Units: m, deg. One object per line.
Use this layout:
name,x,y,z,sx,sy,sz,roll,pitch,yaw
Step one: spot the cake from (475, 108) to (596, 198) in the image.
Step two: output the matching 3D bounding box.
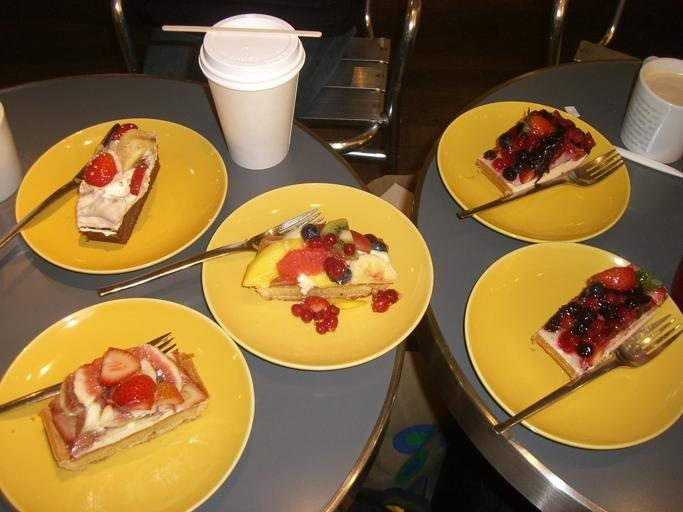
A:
cake,0.724,-0.396,2.091,0.421,0.146,0.300,-38,68,-5

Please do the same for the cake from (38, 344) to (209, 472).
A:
cake,-0.567,0.393,1.523,0.398,0.156,0.268,-24,66,-17

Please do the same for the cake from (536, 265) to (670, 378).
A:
cake,0.811,0.196,1.793,0.262,0.150,0.449,43,80,7

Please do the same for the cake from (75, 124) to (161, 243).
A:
cake,-0.749,-0.247,1.886,0.198,0.135,0.399,12,66,-5

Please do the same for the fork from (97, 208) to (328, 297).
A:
fork,-0.402,0.000,1.738,0.501,0.056,0.067,-28,93,-11

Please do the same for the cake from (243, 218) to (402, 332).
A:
cake,-0.052,0.050,1.746,0.372,0.152,0.347,3,66,-6
